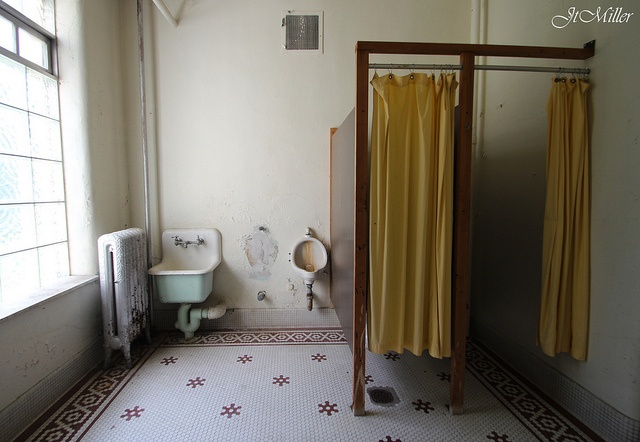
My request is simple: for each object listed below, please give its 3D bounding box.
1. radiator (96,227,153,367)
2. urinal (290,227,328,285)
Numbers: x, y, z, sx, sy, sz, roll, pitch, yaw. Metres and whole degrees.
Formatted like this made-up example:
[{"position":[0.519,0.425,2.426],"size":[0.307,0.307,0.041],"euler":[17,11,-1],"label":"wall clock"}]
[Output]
[{"position":[-1.719,0.653,4.259],"size":[0.178,1.113,0.741],"euler":[-3,5,-3],"label":"radiator"},{"position":[-0.100,0.312,4.407],"size":[0.289,0.562,0.291],"euler":[4,7,-2],"label":"urinal"}]
